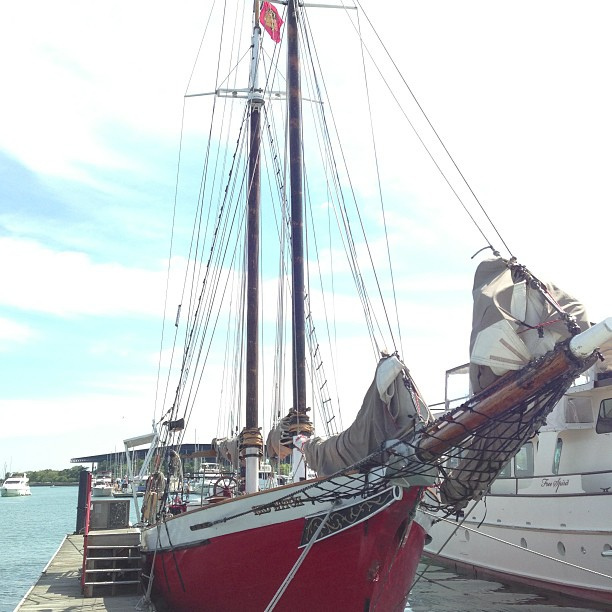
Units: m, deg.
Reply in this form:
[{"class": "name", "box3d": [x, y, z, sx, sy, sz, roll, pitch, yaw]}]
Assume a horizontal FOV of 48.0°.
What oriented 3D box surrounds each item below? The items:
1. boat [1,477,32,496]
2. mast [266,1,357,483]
[{"class": "boat", "box3d": [-53.031, 32.740, 125.940, 3.925, 2.713, 6.268, 3, -2, -11]}, {"class": "mast", "box3d": [-0.293, -2.566, 19.348, 1.791, 13.642, 1.066, 6, -25, -7]}]
